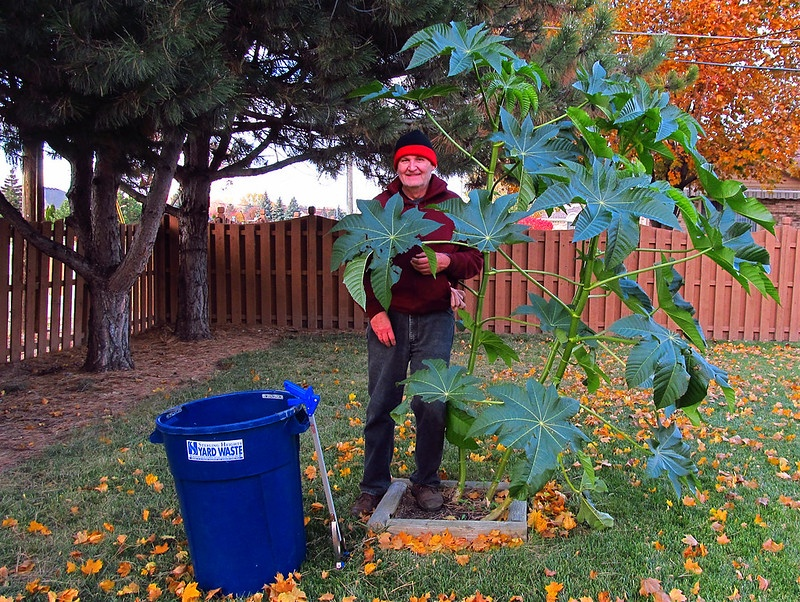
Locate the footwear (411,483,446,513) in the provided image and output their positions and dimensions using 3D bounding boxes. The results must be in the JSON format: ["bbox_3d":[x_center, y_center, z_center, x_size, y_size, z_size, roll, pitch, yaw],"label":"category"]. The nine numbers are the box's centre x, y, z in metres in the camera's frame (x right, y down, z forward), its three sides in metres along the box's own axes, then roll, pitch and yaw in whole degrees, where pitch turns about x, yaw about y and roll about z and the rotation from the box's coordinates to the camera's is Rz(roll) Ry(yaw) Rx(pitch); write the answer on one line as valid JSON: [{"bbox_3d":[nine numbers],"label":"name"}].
[{"bbox_3d":[0.189,1.252,4.083,0.103,0.090,0.215,-2,8,-28],"label":"footwear"}]

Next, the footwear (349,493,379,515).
[{"bbox_3d":[-0.217,1.303,4.129,0.082,0.087,0.212,1,-6,32],"label":"footwear"}]

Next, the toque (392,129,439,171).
[{"bbox_3d":[0.101,-0.995,4.163,0.264,0.223,0.273,1,4,14],"label":"toque"}]
